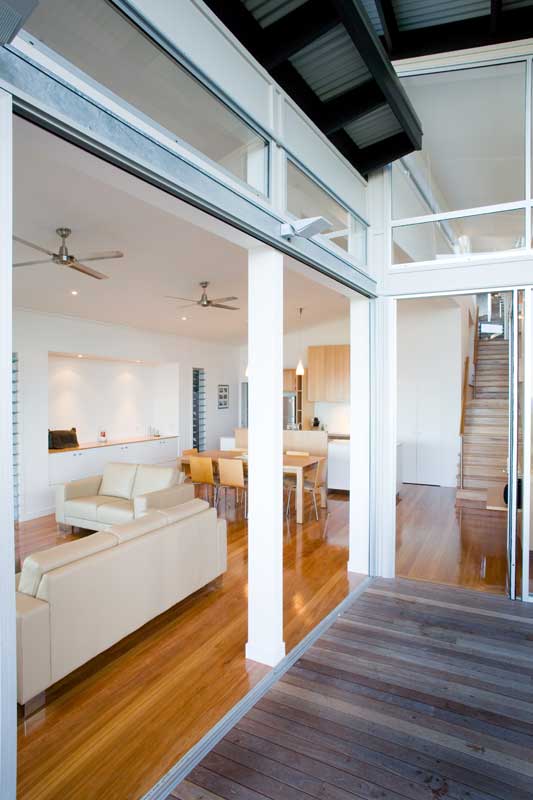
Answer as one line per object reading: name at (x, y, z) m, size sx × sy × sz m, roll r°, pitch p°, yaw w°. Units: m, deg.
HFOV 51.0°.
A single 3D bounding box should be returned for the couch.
couch at (-1.063, 0.984, 3.146) m, size 0.767 × 0.549 × 1.179 m, roll 4°, pitch 5°, yaw 30°
